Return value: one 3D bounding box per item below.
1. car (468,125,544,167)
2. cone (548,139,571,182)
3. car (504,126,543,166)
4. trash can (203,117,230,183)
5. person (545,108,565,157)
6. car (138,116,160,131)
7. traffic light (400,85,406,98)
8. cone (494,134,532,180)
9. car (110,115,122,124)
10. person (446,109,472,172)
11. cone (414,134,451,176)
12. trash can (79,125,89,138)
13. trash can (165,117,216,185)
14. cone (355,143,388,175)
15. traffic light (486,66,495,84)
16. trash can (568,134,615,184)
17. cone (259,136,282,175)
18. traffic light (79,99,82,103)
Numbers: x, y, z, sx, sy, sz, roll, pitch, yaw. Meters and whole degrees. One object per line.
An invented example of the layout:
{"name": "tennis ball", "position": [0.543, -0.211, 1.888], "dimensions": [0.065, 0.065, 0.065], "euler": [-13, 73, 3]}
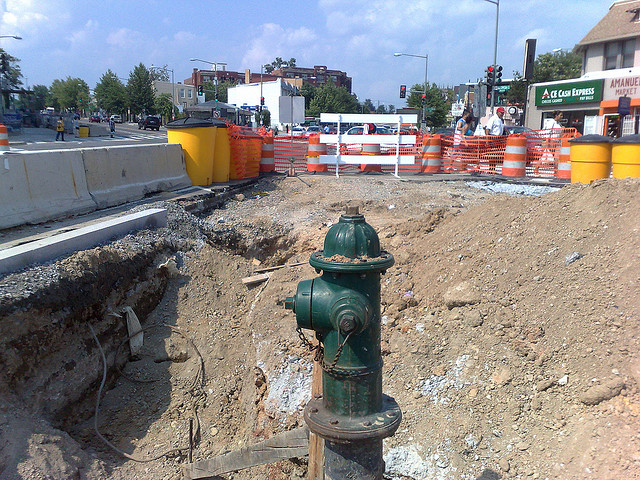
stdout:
{"name": "car", "position": [5.711, -2.946, 16.719], "dimensions": [2.066, 1.120, 1.343], "euler": [2, 14, 16]}
{"name": "cone", "position": [6.466, -2.152, 14.452], "dimensions": [0.440, 1.078, 1.171], "euler": [4, 17, 24]}
{"name": "car", "position": [6.390, -3.051, 17.064], "dimensions": [1.028, 0.925, 2.845], "euler": [2, 17, 18]}
{"name": "trash can", "position": [-2.474, -2.247, 13.380], "dimensions": [0.862, 1.509, 0.885], "euler": [-3, 8, -36]}
{"name": "person", "position": [7.048, -3.247, 16.252], "dimensions": [0.518, 1.271, 2.413], "euler": [4, 17, 23]}
{"name": "car", "position": [-17.593, -12.060, 56.252], "dimensions": [1.534, 1.444, 3.274], "euler": [-3, 17, -23]}
{"name": "traffic light", "position": [5.834, -10.383, 37.933], "dimensions": [0.273, 0.727, 0.659], "euler": [1, 16, 14]}
{"name": "cone", "position": [5.544, -2.377, 15.390], "dimensions": [0.977, 1.100, 0.622], "euler": [-14, 19, -34]}
{"name": "car", "position": [-26.103, -15.521, 70.025], "dimensions": [1.394, 1.167, 3.156], "euler": [-3, 22, -23]}
{"name": "person", "position": [4.521, -3.284, 17.581], "dimensions": [0.681, 1.801, 1.532], "euler": [3, 16, 19]}
{"name": "cone", "position": [3.510, -2.702, 16.998], "dimensions": [0.739, 1.164, 1.379], "euler": [1, 16, 13]}
{"name": "trash can", "position": [-18.791, -8.666, 43.101], "dimensions": [0.588, 0.752, 1.448], "euler": [-8, 17, -17]}
{"name": "trash can", "position": [-2.823, -2.101, 12.522], "dimensions": [1.276, 1.876, 1.332], "euler": [-1, 12, -7]}
{"name": "cone", "position": [1.637, -2.641, 17.935], "dimensions": [1.000, 1.244, 1.200], "euler": [2, 9, 20]}
{"name": "traffic light", "position": [7.843, -7.586, 24.865], "dimensions": [0.344, 0.774, 0.787], "euler": [2, 16, 15]}
{"name": "trash can", "position": [5.454, -1.631, 10.927], "dimensions": [0.764, 0.964, 0.526], "euler": [5, 17, 28]}
{"name": "cone", "position": [-1.639, -2.780, 17.516], "dimensions": [0.899, 1.171, 0.863], "euler": [18, 17, 42]}
{"name": "traffic light", "position": [-53.946, -31.525, 122.295], "dimensions": [0.476, 0.704, 0.735], "euler": [-11, 18, -28]}
